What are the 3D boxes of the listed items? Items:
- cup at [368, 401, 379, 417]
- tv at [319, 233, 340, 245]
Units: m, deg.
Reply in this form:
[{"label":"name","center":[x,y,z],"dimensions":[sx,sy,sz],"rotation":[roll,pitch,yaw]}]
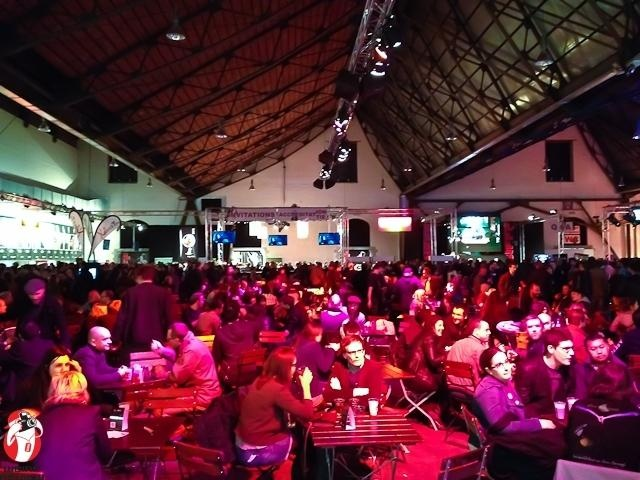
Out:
[{"label":"cup","center":[0.527,1.653,4.891],"dimensions":[0.134,0.144,0.143],"rotation":[-1,-7,0]},{"label":"tv","center":[0.523,-0.019,21.331],"dimensions":[0.943,0.482,0.457],"rotation":[-2,-5,21]}]
